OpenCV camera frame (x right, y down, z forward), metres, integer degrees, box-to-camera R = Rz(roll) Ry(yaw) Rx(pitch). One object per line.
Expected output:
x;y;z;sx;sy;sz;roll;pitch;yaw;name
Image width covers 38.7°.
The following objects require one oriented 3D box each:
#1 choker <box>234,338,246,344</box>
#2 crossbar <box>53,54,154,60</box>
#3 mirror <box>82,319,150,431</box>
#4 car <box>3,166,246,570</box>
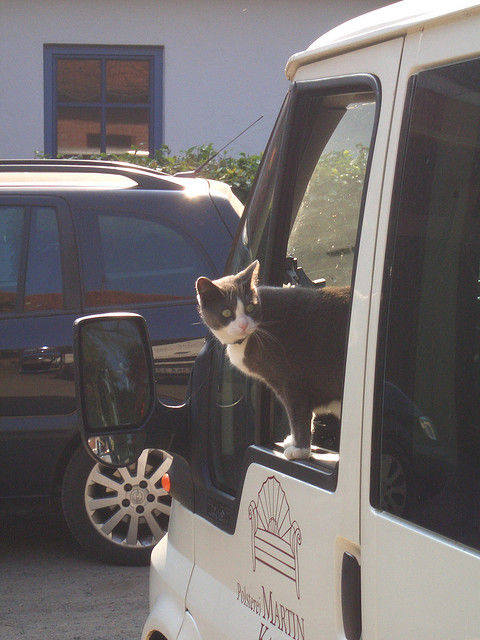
-0.002;0.059;1.919;0.011;0.015;0.055;-2;3;-28;choker
-1.855;-3.617;9.428;1.337;0.083;0.100;-1;3;-1;crossbar
-0.311;0.129;1.721;0.190;0.425;0.042;-3;43;-13;mirror
-0.796;0.115;3.783;1.604;1.410;1.208;2;-3;-6;car
